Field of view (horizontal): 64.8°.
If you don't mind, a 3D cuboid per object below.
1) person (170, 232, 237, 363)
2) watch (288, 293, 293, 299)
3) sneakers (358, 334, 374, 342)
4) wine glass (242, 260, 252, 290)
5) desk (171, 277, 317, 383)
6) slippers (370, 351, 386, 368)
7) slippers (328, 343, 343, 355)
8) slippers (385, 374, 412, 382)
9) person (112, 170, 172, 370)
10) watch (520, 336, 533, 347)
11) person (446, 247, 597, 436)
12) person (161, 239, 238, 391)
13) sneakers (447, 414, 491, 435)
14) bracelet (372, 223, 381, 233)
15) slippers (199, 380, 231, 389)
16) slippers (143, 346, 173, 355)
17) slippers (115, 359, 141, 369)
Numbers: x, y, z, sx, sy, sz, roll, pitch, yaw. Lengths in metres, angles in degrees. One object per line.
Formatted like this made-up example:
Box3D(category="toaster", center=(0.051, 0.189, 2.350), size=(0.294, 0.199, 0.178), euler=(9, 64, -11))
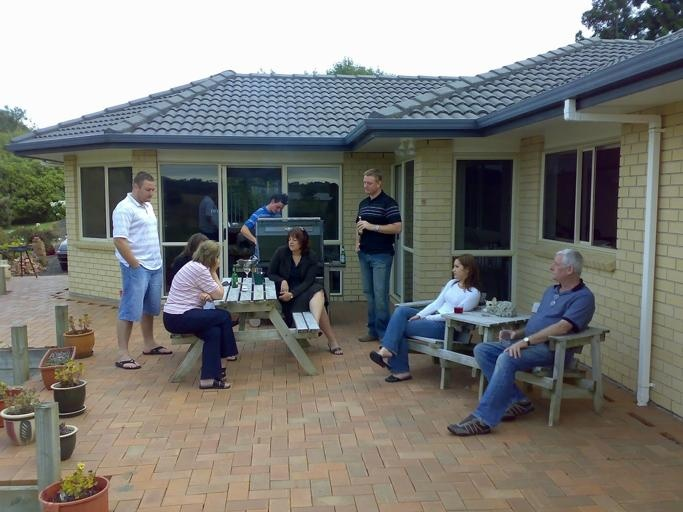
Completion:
Box3D(category="person", center=(-1.584, 0.512, 6.213), size=(0.908, 0.414, 1.856), euler=(-1, 27, -9))
Box3D(category="watch", center=(-0.630, 0.496, 6.681), size=(0.034, 0.053, 0.051), euler=(4, 8, -37))
Box3D(category="sneakers", center=(0.343, 1.159, 7.503), size=(0.243, 0.081, 0.082), euler=(2, 0, -8))
Box3D(category="wine glass", center=(-1.230, 0.282, 6.939), size=(0.139, 0.169, 0.491), euler=(3, 18, -6))
Box3D(category="desk", center=(-1.178, 0.808, 6.625), size=(1.909, 0.761, 1.832), euler=(0, 7, -1))
Box3D(category="slippers", center=(0.376, 1.099, 5.701), size=(0.156, 0.216, 0.225), euler=(-1, 8, 2))
Box3D(category="slippers", center=(-0.074, 1.189, 6.891), size=(0.173, 0.117, 0.241), euler=(-1, 8, -2))
Box3D(category="slippers", center=(0.606, 1.323, 5.876), size=(0.215, 0.037, 0.096), euler=(1, -1, -15))
Box3D(category="person", center=(-2.462, 0.158, 6.480), size=(0.485, 2.293, 0.703), euler=(0, 9, 6))
Box3D(category="watch", center=(1.627, 0.755, 4.759), size=(0.064, 0.079, 0.093), euler=(2, 2, 27))
Box3D(category="person", center=(1.564, 0.735, 4.856), size=(1.223, 1.543, 0.535), euler=(-4, 9, -21))
Box3D(category="person", center=(-1.502, 0.621, 5.793), size=(0.705, 1.547, 0.440), euler=(3, 10, 26))
Box3D(category="sneakers", center=(1.093, 1.475, 4.711), size=(0.407, 0.146, 0.146), euler=(1, -2, -9))
Box3D(category="bracelet", center=(0.443, -0.362, 7.006), size=(0.104, 0.119, 0.046), euler=(3, -4, 2))
Box3D(category="slippers", center=(-1.341, 1.373, 5.756), size=(0.327, 0.117, 0.110), euler=(-1, 6, -5))
Box3D(category="slippers", center=(-2.359, 1.221, 6.933), size=(0.354, 0.090, 0.129), euler=(0, 4, -9))
Box3D(category="slippers", center=(-2.496, 1.279, 6.354), size=(0.254, 0.059, 0.121), euler=(1, 4, 19))
